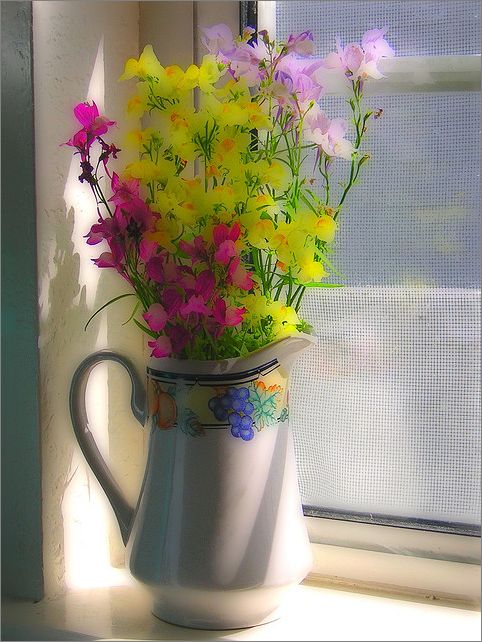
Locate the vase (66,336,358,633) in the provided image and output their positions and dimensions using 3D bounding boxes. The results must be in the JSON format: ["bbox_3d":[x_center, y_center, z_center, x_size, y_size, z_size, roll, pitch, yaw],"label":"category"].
[{"bbox_3d":[-0.055,0.140,0.567,0.230,0.239,0.160,0,-4,7],"label":"vase"}]

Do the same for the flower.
[{"bbox_3d":[-0.010,-0.103,0.717,0.350,0.456,0.280,0,-1,11],"label":"flower"}]
